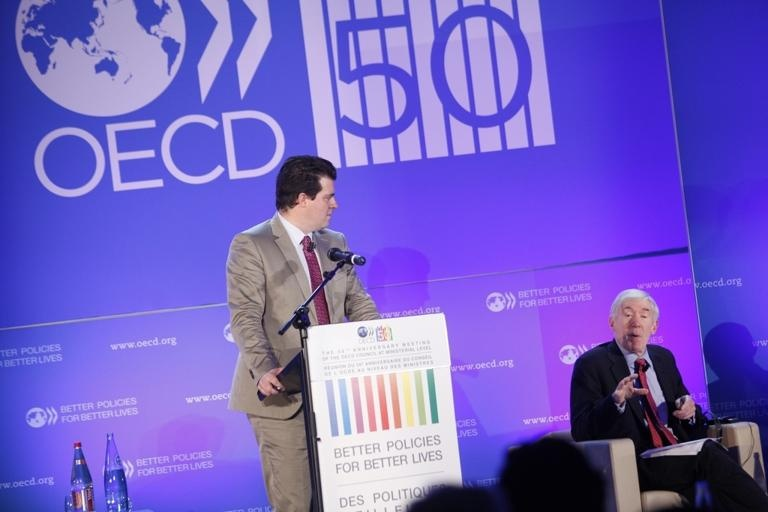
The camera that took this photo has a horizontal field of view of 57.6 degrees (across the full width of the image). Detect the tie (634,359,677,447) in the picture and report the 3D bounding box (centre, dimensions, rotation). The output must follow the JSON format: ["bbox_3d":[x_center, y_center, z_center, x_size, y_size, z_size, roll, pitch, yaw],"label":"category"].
[{"bbox_3d":[2.043,1.208,5.417,0.204,0.792,0.118,-8,-15,-12],"label":"tie"}]
